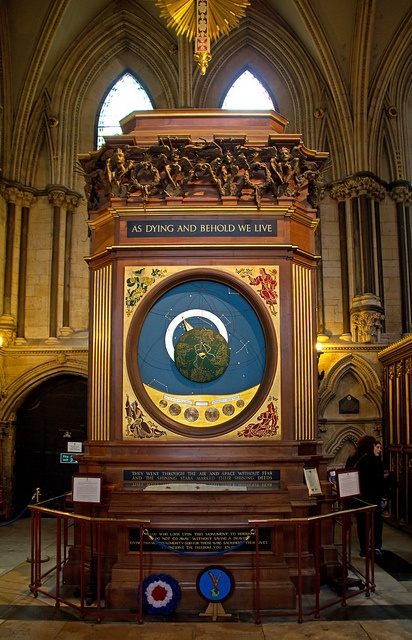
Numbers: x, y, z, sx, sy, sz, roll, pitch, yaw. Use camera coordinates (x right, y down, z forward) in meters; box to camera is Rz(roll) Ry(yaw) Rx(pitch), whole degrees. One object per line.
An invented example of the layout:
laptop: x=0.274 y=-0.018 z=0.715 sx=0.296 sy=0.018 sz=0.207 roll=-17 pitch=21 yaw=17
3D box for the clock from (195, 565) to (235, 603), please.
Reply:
clock: x=0.089 y=2.521 z=7.149 sx=0.404 sy=0.350 sz=0.049 roll=2 pitch=-8 yaw=-1

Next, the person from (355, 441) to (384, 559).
person: x=2.056 y=2.196 z=9.321 sx=0.411 sy=1.461 sz=0.908 roll=-5 pitch=-10 yaw=10
